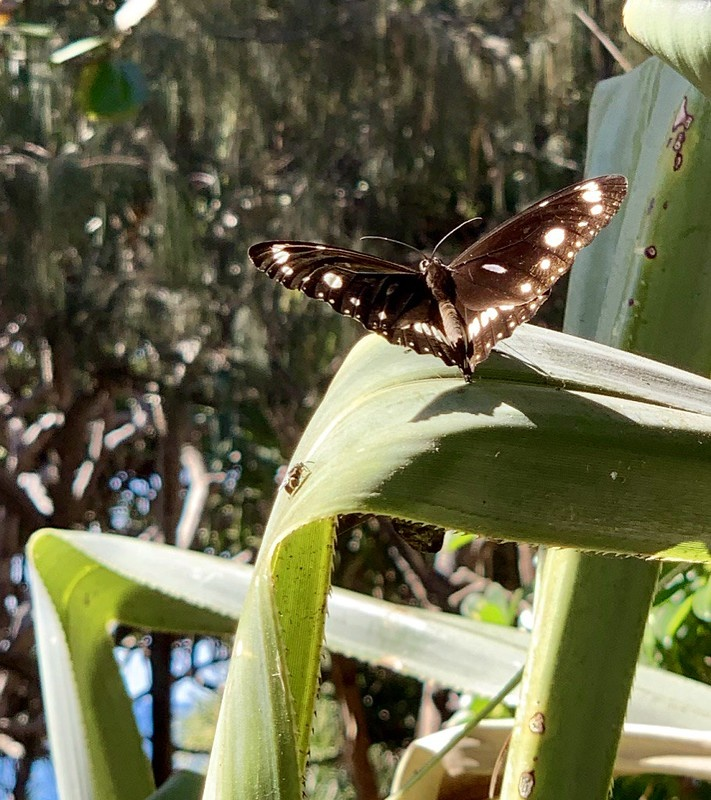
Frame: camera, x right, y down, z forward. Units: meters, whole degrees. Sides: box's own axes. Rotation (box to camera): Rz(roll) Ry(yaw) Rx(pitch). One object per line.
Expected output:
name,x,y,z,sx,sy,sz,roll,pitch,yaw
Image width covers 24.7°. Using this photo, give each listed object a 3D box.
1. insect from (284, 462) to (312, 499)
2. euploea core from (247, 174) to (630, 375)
insect,-0.033,0.045,0.912,0.020,0.006,0.015,-31,16,43
euploea core,0.057,-0.095,1.078,0.193,0.118,0.340,-2,9,-30
